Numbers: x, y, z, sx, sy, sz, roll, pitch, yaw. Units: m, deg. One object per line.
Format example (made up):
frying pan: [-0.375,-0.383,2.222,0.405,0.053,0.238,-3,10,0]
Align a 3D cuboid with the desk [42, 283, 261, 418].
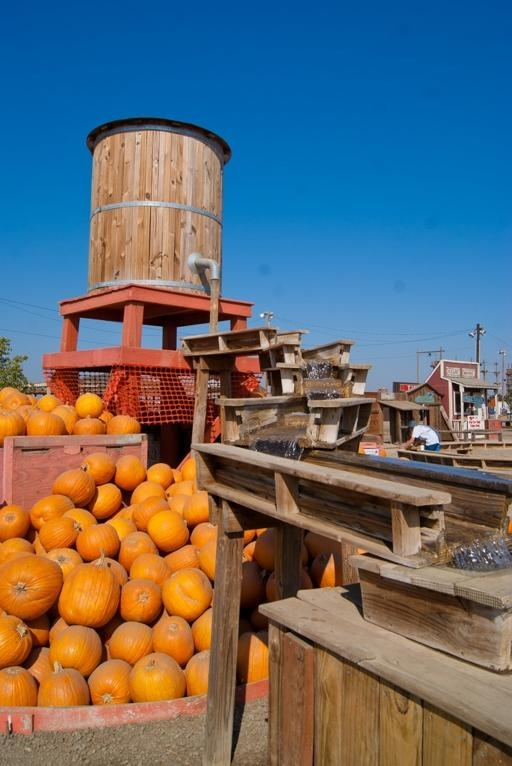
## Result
desk: [-2.246,-0.417,9.757,2.753,2.135,2.787,-1,-1,44]
